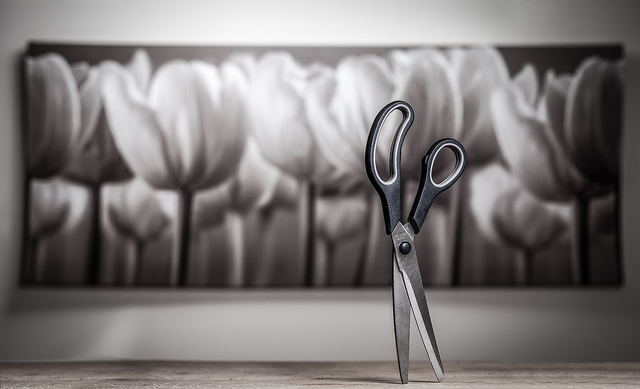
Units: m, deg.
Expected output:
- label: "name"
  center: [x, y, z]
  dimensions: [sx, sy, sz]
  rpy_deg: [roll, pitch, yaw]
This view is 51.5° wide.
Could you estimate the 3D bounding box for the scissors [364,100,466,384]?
- label: "scissors"
  center: [0.226, 0.097, 1.641]
  dimensions: [0.260, 0.700, 0.274]
  rpy_deg: [0, 0, 13]
